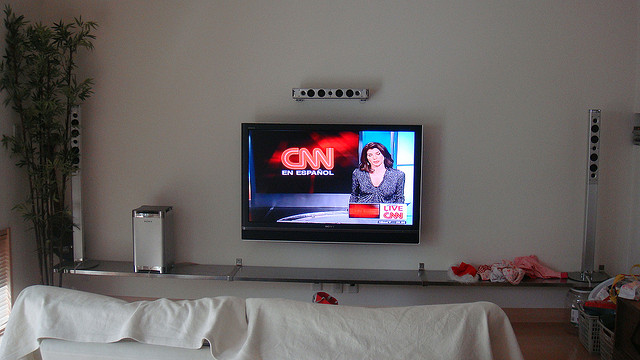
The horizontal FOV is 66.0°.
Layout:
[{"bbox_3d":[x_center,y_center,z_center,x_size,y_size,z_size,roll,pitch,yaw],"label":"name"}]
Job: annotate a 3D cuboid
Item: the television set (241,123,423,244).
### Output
[{"bbox_3d":[0.211,-0.006,6.326,1.723,1.045,0.062,1,5,2],"label":"television set"}]
